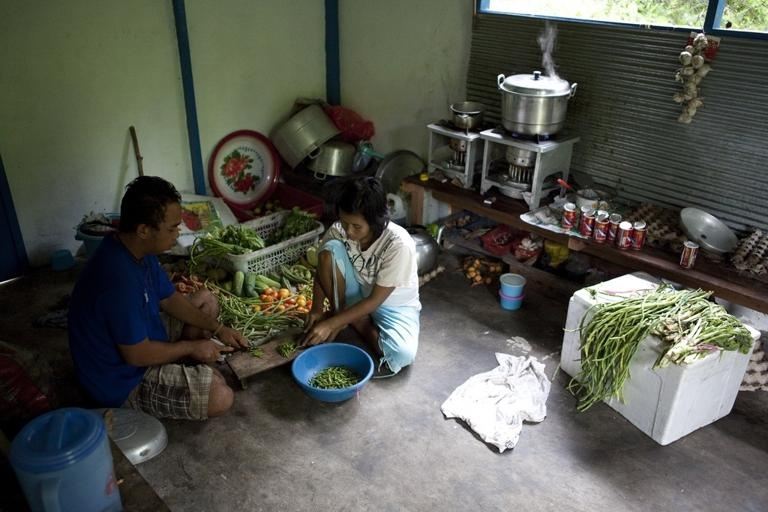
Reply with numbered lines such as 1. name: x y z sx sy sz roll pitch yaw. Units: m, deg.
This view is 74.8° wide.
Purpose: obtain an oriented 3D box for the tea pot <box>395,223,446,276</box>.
1. tea pot: 0.405 -0.068 5.412 0.361 0.340 0.492 14 25 39

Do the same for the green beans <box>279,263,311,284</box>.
1. green beans: -0.917 0.184 5.191 0.249 0.083 0.208 16 17 28

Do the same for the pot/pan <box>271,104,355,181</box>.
1. pot/pan: -0.942 -1.477 6.543 0.995 0.956 0.772 -14 30 -28

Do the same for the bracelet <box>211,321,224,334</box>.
1. bracelet: -1.337 0.578 4.031 0.077 0.092 0.034 14 -6 40

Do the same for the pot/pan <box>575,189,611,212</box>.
1. pot/pan: 2.048 -0.557 4.956 0.272 0.101 0.270 -8 34 1

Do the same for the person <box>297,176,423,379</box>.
1. person: -0.175 0.124 4.177 0.954 1.641 0.693 3 27 5

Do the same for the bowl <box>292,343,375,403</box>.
1. bowl: -0.461 0.907 3.973 0.606 0.224 0.581 -1 23 0

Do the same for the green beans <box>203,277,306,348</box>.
1. green beans: -1.102 0.509 4.629 0.550 0.231 0.750 28 36 34

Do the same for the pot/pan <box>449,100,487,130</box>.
1. pot/pan: 0.867 -1.488 5.446 0.370 0.221 0.323 -29 49 -22

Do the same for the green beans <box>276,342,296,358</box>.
1. green beans: -0.808 0.771 4.126 0.115 0.070 0.114 -19 41 4

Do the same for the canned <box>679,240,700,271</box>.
1. canned: 2.641 -0.020 4.357 0.124 0.213 0.192 17 31 29

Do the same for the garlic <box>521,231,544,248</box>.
1. garlic: 1.532 -0.170 5.246 0.161 0.081 0.182 -9 43 20

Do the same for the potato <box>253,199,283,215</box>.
1. potato: -1.479 -0.602 6.361 0.238 0.089 0.235 -18 28 -6

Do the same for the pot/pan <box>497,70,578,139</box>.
1. pot/pan: 1.525 -1.594 5.002 0.742 0.545 0.668 16 35 31
